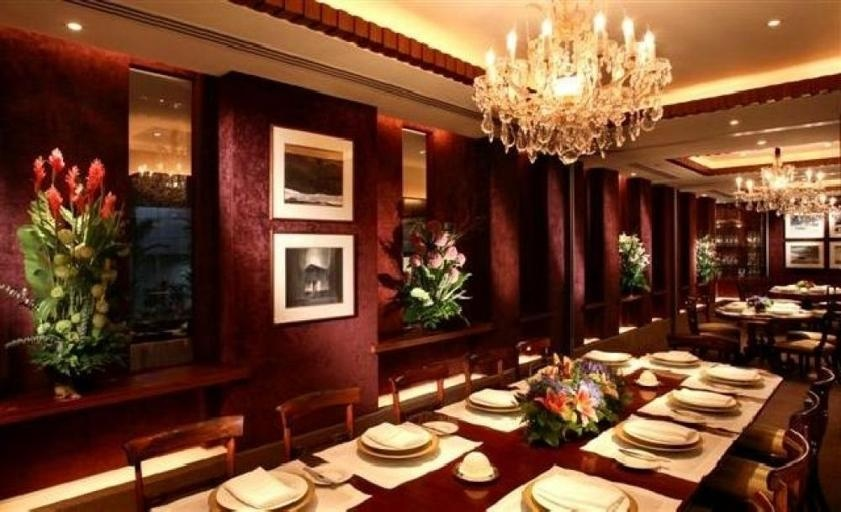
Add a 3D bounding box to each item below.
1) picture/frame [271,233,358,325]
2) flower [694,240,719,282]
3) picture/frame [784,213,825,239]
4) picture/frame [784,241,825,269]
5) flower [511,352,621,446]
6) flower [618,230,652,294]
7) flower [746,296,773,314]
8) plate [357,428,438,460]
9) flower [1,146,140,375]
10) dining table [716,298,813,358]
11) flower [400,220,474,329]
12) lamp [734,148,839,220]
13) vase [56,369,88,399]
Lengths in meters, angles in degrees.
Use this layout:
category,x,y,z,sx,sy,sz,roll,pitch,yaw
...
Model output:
category,x,y,z,sx,sy,sz,roll,pitch,yaw
picture/frame,-1.179,0.248,6.022,1.110,1.013,0.037,1,-4,-37
flower,6.827,0.113,13.357,0.365,1.111,1.166,-2,1,31
picture/frame,9.723,-0.767,14.096,0.075,0.530,0.675,-2,4,-40
picture/frame,9.899,-0.029,14.362,0.074,0.650,0.749,-4,5,-44
flower,1.144,1.131,4.439,0.697,0.359,0.877,6,15,38
flower,4.104,0.150,10.759,0.457,1.152,0.861,-2,2,33
flower,5.757,0.829,9.463,0.323,0.206,0.317,-2,-2,25
plate,-0.223,1.397,4.307,0.449,0.068,0.444,10,18,13
flower,-3.171,0.061,5.080,0.940,1.924,0.543,-3,2,-25
dining table,5.826,1.227,9.323,1.113,0.541,1.067,-11,2,-31
flower,0.146,0.242,7.193,0.873,1.444,0.931,-3,1,-1
lamp,6.764,-1.215,10.454,1.801,1.097,1.872,0,6,0
vase,-3.085,1.144,4.957,0.234,0.230,0.119,-3,2,-30
